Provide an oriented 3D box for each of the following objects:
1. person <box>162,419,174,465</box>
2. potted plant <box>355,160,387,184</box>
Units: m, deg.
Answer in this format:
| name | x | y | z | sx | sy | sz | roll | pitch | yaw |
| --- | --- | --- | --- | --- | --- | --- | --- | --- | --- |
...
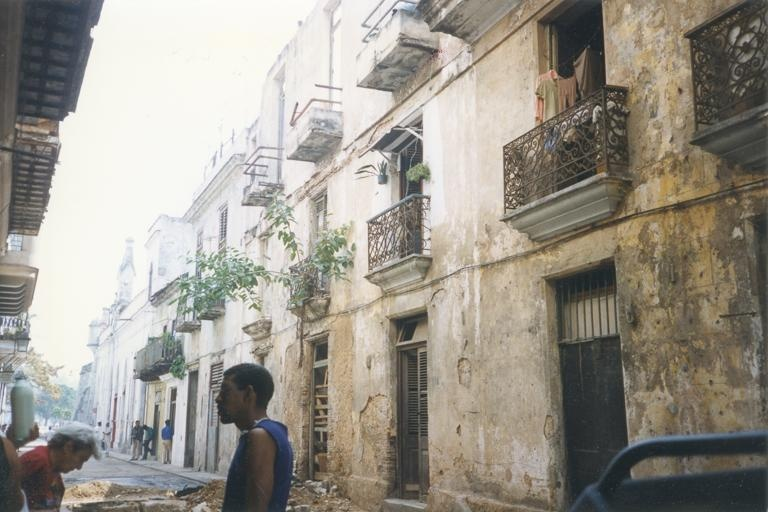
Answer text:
| name | x | y | z | sx | sy | sz | roll | pitch | yaw |
| --- | --- | --- | --- | --- | --- | --- | --- | --- | --- |
| person | -7.966 | 6.807 | 33.269 | 0.405 | 1.713 | 2.287 | 0 | 2 | -14 |
| potted plant | -0.204 | -1.790 | 19.405 | 0.469 | 0.320 | 0.607 | -4 | -12 | 5 |
